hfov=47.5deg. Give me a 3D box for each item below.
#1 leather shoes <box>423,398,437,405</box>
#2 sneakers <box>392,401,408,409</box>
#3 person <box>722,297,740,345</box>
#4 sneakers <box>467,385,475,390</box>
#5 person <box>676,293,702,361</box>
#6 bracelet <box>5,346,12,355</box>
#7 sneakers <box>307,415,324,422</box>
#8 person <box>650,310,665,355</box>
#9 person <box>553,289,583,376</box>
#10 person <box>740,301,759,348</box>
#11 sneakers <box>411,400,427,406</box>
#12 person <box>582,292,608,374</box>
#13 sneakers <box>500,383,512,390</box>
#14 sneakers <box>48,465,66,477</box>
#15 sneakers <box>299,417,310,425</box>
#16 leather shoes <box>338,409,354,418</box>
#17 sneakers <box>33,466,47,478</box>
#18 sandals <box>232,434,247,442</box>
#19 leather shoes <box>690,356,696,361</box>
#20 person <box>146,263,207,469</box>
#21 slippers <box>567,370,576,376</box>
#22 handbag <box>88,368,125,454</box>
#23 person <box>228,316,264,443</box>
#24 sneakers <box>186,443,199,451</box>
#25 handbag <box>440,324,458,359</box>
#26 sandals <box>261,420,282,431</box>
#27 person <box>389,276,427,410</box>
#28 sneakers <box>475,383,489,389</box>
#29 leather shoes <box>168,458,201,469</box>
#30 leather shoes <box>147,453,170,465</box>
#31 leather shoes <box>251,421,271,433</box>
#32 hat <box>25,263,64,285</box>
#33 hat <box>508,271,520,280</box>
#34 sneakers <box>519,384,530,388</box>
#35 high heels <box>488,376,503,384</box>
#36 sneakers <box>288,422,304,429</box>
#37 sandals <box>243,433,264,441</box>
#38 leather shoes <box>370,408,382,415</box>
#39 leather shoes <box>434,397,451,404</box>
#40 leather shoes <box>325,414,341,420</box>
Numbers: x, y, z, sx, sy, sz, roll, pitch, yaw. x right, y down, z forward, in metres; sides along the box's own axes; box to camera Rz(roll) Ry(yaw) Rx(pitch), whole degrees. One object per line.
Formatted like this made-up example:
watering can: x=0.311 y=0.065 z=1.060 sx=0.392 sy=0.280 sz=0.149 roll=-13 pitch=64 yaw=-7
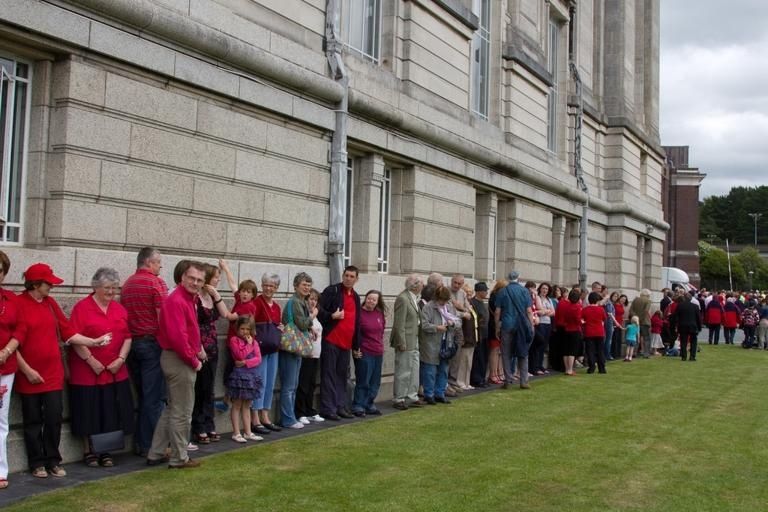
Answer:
leather shoes: x=0.858 y=2.768 z=16.559 sx=0.252 sy=0.195 sz=0.096 roll=-5 pitch=-3 yaw=28
sneakers: x=0.314 y=2.774 z=16.222 sx=0.264 sy=0.198 sz=0.118 roll=-7 pitch=-6 yaw=30
person: x=12.530 y=2.299 z=31.481 sx=0.512 sy=1.707 sz=1.057 roll=-4 pitch=-6 yaw=21
sneakers: x=1.847 y=2.783 z=18.466 sx=0.063 sy=0.081 sz=0.190 roll=0 pitch=-7 yaw=-20
person: x=8.726 y=2.002 z=24.990 sx=0.669 sy=1.932 sz=1.316 roll=-4 pitch=-6 yaw=18
bracelet: x=-5.038 y=1.270 z=11.671 sx=0.102 sy=0.081 sz=0.043 roll=1 pitch=-6 yaw=-27
sneakers: x=-1.158 y=2.789 z=15.030 sx=0.255 sy=0.114 sz=0.101 roll=1 pitch=-1 yaw=7
person: x=8.238 y=2.294 z=26.255 sx=0.439 sy=1.302 sz=1.508 roll=-4 pitch=-6 yaw=17
person: x=4.470 y=1.819 z=20.809 sx=0.405 sy=1.989 sz=0.927 roll=0 pitch=-6 yaw=-17
person: x=12.687 y=2.372 z=30.174 sx=0.573 sy=1.563 sz=1.757 roll=-4 pitch=-6 yaw=22
sneakers: x=0.674 y=2.774 z=16.432 sx=0.279 sy=0.131 sz=0.109 roll=-2 pitch=1 yaw=-5
person: x=5.190 y=1.866 z=21.447 sx=0.573 sy=2.020 sz=1.038 roll=-3 pitch=-6 yaw=14
sneakers: x=2.583 y=2.738 z=18.331 sx=0.204 sy=0.123 sz=0.102 roll=-7 pitch=21 yaw=-26
sneakers: x=-4.507 y=2.956 z=12.039 sx=0.239 sy=0.111 sz=0.117 roll=-3 pitch=-3 yaw=37
sneakers: x=-1.335 y=2.782 z=14.720 sx=0.083 sy=0.074 sz=0.172 roll=1 pitch=-5 yaw=-39
leather shoes: x=-0.654 y=2.786 z=15.356 sx=0.264 sy=0.116 sz=0.101 roll=-4 pitch=-3 yaw=22
sneakers: x=-4.695 y=2.948 z=11.921 sx=0.109 sy=0.097 sz=0.201 roll=2 pitch=-6 yaw=-34
sandals: x=-2.282 y=2.855 z=13.682 sx=0.297 sy=0.127 sz=0.164 roll=-6 pitch=-7 yaw=27
leather shoes: x=8.721 y=2.882 z=24.574 sx=0.100 sy=0.101 sz=0.172 roll=2 pitch=3 yaw=29
person: x=-2.928 y=1.522 z=12.456 sx=0.839 sy=2.954 sz=0.567 roll=-2 pitch=-5 yaw=-2
slippers: x=4.486 y=2.787 z=20.804 sx=0.203 sy=0.090 sz=0.116 roll=-3 pitch=1 yaw=22
handbag: x=-4.001 y=2.268 z=12.585 sx=0.711 sy=1.032 sz=0.255 roll=-8 pitch=7 yaw=-33
person: x=-2.198 y=1.944 z=13.834 sx=0.562 sy=1.964 sz=0.532 roll=2 pitch=-7 yaw=-36
sneakers: x=-2.905 y=2.878 z=13.227 sx=0.224 sy=0.105 sz=0.098 roll=-1 pitch=0 yaw=28
handbag: x=1.232 y=1.617 z=16.641 sx=0.343 sy=0.740 sz=0.580 roll=3 pitch=-3 yaw=25
sandals: x=-1.835 y=2.807 z=14.348 sx=0.286 sy=0.091 sz=0.126 roll=16 pitch=4 yaw=14
person: x=0.435 y=1.596 z=16.262 sx=0.542 sy=2.478 sz=0.729 roll=-5 pitch=-6 yaw=29
sneakers: x=2.122 y=2.797 z=18.814 sx=0.336 sy=0.155 sz=0.112 roll=-5 pitch=-3 yaw=25
leather shoes: x=-2.826 y=2.902 z=12.419 sx=0.419 sy=0.192 sz=0.157 roll=-1 pitch=3 yaw=-19
leather shoes: x=-3.240 y=2.912 z=12.570 sx=0.132 sy=0.156 sz=0.341 roll=6 pitch=7 yaw=44
leather shoes: x=-1.996 y=2.785 z=14.149 sx=0.301 sy=0.089 sz=0.122 roll=-2 pitch=2 yaw=37
hat: x=-4.701 y=0.248 z=12.050 sx=0.425 sy=0.256 sz=0.274 roll=0 pitch=5 yaw=-17
hat: x=2.810 y=0.423 z=18.759 sx=0.152 sy=0.201 sz=0.208 roll=0 pitch=-12 yaw=-6
sneakers: x=2.980 y=2.736 z=18.352 sx=0.196 sy=0.099 sz=0.163 roll=-3 pitch=-6 yaw=4
high heels: x=2.533 y=2.754 z=19.364 sx=0.397 sy=0.175 sz=0.138 roll=-2 pitch=-2 yaw=21
sneakers: x=-1.450 y=2.822 z=14.562 sx=0.237 sy=0.112 sz=0.090 roll=-3 pitch=1 yaw=-7
sandals: x=-2.053 y=2.846 z=13.799 sx=0.290 sy=0.106 sz=0.122 roll=1 pitch=0 yaw=7
leather shoes: x=-0.151 y=2.793 z=15.678 sx=0.163 sy=0.078 sz=0.095 roll=-2 pitch=1 yaw=16
leather shoes: x=1.140 y=2.775 z=16.803 sx=0.309 sy=0.244 sz=0.127 roll=-2 pitch=-6 yaw=7
leather shoes: x=-0.881 y=2.781 z=15.168 sx=0.275 sy=0.132 sz=0.108 roll=0 pitch=-1 yaw=6
